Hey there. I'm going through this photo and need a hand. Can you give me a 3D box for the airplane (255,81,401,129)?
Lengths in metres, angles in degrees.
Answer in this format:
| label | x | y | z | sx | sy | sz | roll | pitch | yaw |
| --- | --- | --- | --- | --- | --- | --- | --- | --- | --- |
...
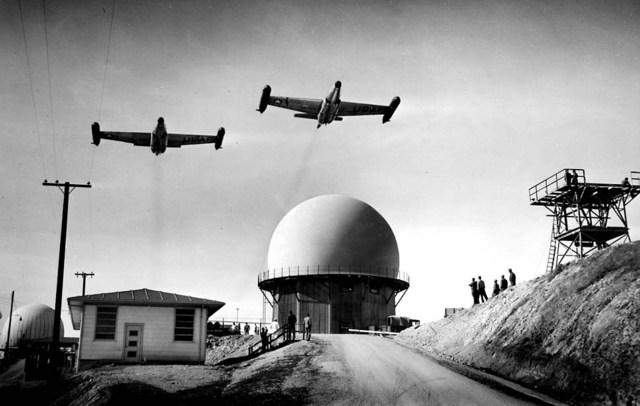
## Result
| label | x | y | z | sx | sy | sz | roll | pitch | yaw |
| --- | --- | --- | --- | --- | --- | --- | --- | --- | --- |
| airplane | 0.962 | -6.517 | 42.776 | 7.689 | 2.571 | 5.884 | -1 | -1 | -44 |
